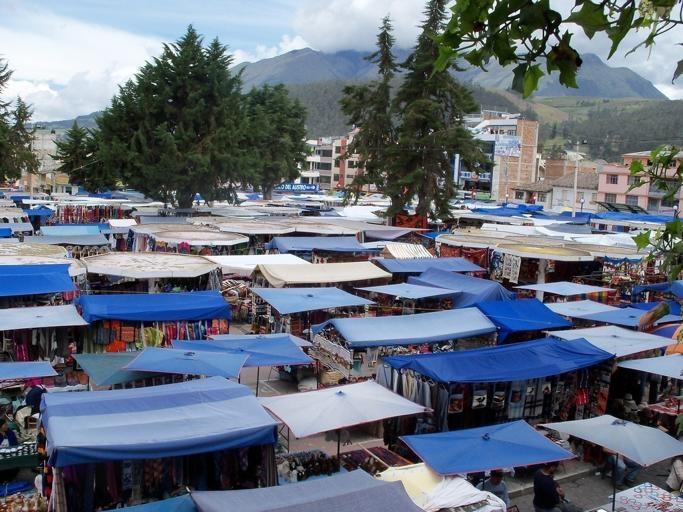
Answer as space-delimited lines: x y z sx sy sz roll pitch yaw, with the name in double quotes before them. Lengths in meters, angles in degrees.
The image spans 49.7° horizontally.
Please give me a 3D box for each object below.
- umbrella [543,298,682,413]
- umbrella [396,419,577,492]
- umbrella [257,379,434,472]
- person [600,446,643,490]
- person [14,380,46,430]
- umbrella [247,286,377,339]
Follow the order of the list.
"umbrella" 6.275 2.400 16.992 3.349 0.925 2.947 -5 12 -19
"umbrella" 2.467 3.303 12.767 2.562 0.400 1.122 -4 6 -12
"umbrella" -0.035 2.820 13.733 2.281 1.229 1.634 -7 19 -27
"person" 5.724 4.132 15.080 0.685 0.970 0.666 2 17 -11
"person" -6.239 3.017 14.823 0.583 0.683 0.743 -4 7 -12
"umbrella" -0.849 1.504 21.068 2.993 1.307 3.225 -5 7 -23
